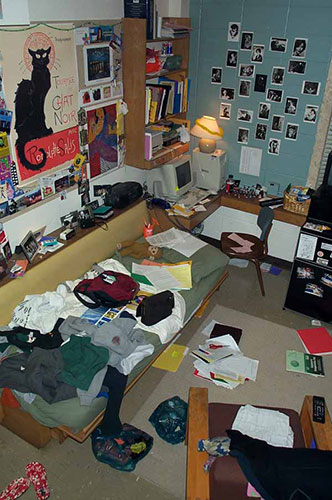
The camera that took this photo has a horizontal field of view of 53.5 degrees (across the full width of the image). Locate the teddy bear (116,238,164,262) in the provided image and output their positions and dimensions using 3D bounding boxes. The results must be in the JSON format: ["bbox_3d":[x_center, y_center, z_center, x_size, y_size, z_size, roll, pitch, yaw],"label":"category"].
[{"bbox_3d":[-0.231,-0.008,3.037,0.320,0.089,0.210,4,45,-9],"label":"teddy bear"}]

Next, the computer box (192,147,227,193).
[{"bbox_3d":[0.520,-0.983,3.921,0.381,0.431,0.236,20,43,29],"label":"computer box"}]

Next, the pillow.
[{"bbox_3d":[0.240,0.075,3.090,0.561,0.155,0.594,26,37,37],"label":"pillow"}]

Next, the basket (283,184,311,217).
[{"bbox_3d":[1.377,-0.544,3.478,0.252,0.220,0.320,13,30,19],"label":"basket"}]

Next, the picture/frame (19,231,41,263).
[{"bbox_3d":[-0.962,-0.023,2.340,0.018,0.137,0.206,-21,39,23],"label":"picture/frame"}]

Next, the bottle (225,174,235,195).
[{"bbox_3d":[0.757,-0.776,3.869,0.115,0.271,0.122,-1,33,1],"label":"bottle"}]

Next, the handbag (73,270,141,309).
[{"bbox_3d":[-0.453,0.310,2.486,0.427,0.142,0.381,7,29,9],"label":"handbag"}]

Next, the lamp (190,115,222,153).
[{"bbox_3d":[0.472,-1.322,3.739,0.349,0.393,0.359,-2,40,-3],"label":"lamp"}]

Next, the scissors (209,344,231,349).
[{"bbox_3d":[0.445,0.799,2.703,0.155,0.028,0.055,4,29,-3],"label":"scissors"}]

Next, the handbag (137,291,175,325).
[{"bbox_3d":[-0.075,0.394,2.358,0.276,0.216,0.137,-17,29,-37],"label":"handbag"}]

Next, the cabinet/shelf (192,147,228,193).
[{"bbox_3d":[0.520,-0.973,3.918,0.381,0.430,0.223,19,32,28],"label":"cabinet/shelf"}]

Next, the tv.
[{"bbox_3d":[0.079,-0.824,3.690,0.302,0.415,0.435,6,28,27],"label":"tv"}]

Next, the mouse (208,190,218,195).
[{"bbox_3d":[0.547,-0.676,3.799,0.080,0.025,0.063,2,37,-8],"label":"mouse"}]

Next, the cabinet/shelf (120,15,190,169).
[{"bbox_3d":[0.042,-1.547,3.441,0.226,1.152,0.736,-20,14,-40],"label":"cabinet/shelf"}]

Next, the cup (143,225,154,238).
[{"bbox_3d":[-0.181,-0.200,3.329,0.087,0.121,0.098,-4,28,-12],"label":"cup"}]

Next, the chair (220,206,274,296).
[{"bbox_3d":[0.847,0.068,3.574,0.625,0.921,0.654,5,-3,-2],"label":"chair"}]
